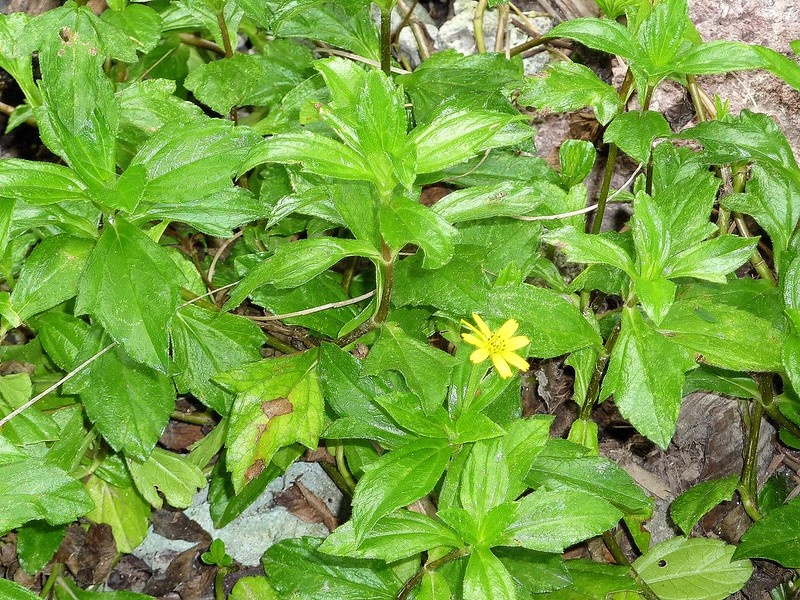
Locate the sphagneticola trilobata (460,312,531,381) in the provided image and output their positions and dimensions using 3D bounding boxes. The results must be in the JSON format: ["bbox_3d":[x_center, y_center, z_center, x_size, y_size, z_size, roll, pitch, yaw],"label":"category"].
[{"bbox_3d":[0.332,0.154,2.395,0.226,0.059,0.228,-37,73,2],"label":"sphagneticola trilobata"}]
